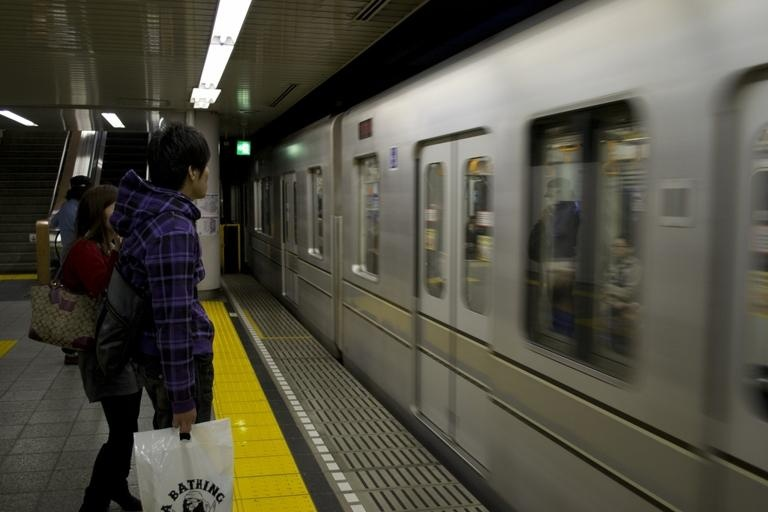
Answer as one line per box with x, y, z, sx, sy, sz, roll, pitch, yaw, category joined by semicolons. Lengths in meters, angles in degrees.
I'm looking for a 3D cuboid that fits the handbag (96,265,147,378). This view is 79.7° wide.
-1.373;0.360;2.403;0.193;0.597;0.372;17;8;-32;handbag

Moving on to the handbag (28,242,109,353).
-1.946;0.232;2.864;0.518;0.649;0.355;0;6;-9;handbag
